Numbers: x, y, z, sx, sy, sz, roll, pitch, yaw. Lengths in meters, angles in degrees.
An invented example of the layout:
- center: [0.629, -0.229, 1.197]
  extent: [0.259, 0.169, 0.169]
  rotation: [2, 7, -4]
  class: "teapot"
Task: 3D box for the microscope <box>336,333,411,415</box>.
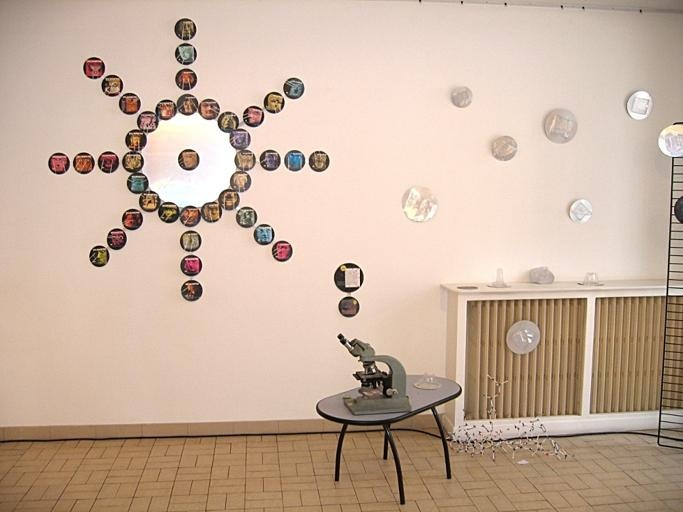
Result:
- center: [0.164, 1.002, 5.080]
  extent: [0.681, 0.749, 0.459]
  rotation: [1, 1, -11]
  class: "microscope"
